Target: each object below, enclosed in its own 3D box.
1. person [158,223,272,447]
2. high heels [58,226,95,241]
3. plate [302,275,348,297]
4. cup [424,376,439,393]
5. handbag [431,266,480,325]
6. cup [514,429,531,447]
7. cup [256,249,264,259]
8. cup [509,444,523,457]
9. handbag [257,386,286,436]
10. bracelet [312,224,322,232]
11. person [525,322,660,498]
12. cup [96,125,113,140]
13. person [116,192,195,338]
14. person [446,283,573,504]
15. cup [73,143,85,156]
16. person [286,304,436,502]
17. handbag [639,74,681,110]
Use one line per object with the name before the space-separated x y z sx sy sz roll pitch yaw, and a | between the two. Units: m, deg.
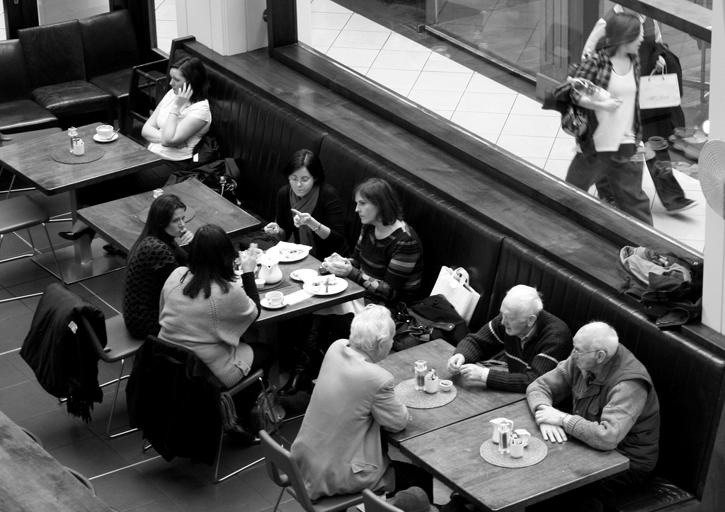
person | -1.126 0.607 4.930 0.843 1.717 0.714 -15 32 -20
high heels | -3.081 -0.242 6.842 0.302 0.140 0.099 8 19 -24
plate | -0.312 0.241 5.327 0.368 0.081 0.267 6 32 13
cup | 0.478 0.889 4.402 0.104 0.117 0.109 0 15 0
handbag | 0.808 0.351 5.376 0.346 0.411 0.146 31 15 37
cup | 0.997 1.113 3.936 0.095 0.092 0.088 -2 26 1
cup | -0.903 -0.025 5.644 0.067 0.068 0.070 2 13 0
cup | 0.922 1.167 3.780 0.074 0.086 0.079 -2 20 1
handbag | -0.723 1.238 4.992 0.116 0.362 0.285 6 67 16
bracelet | -0.419 -0.270 5.930 0.054 0.031 0.060 -22 -3 -8
person | 1.533 1.103 4.293 0.750 1.251 0.820 -10 11 -31
cup | -2.933 -1.465 7.203 0.168 0.123 0.175 1 43 -1
person | -1.711 0.085 5.266 0.738 1.338 0.639 -11 34 -33
person | 1.095 0.907 4.731 0.857 1.425 0.670 -11 23 -25
cup | -3.068 -1.187 6.917 0.125 0.143 0.131 1 22 0
person | 0.015 1.191 4.199 0.936 1.658 0.725 -5 16 -27
handbag | 2.104 -1.169 4.439 0.096 0.276 0.268 -33 23 -35
